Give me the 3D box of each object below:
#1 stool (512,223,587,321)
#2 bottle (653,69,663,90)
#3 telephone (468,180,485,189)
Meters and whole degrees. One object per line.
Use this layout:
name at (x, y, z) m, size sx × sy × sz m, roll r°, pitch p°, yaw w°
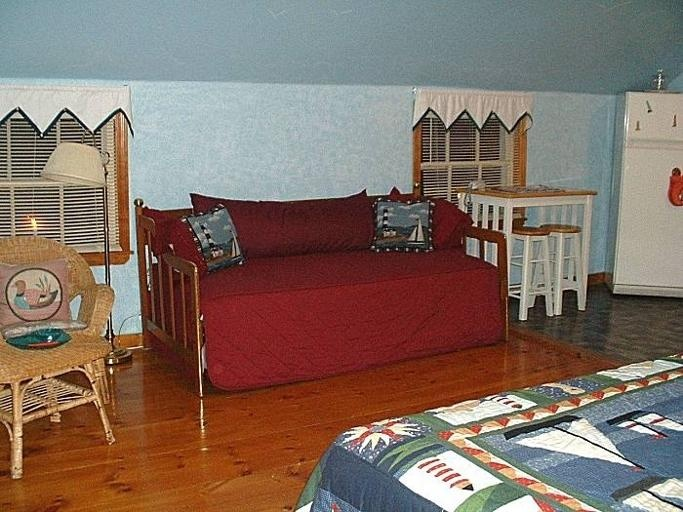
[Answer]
stool at (1.823, 0.084, 4.924) m, size 0.660 × 0.758 × 1.078 m, roll 3°, pitch 14°, yaw 16°
bottle at (3.069, -1.705, 5.428) m, size 0.096 × 0.205 × 0.365 m, roll 7°, pitch 15°, yaw 28°
telephone at (1.179, -0.616, 4.887) m, size 0.170 × 0.076 × 0.105 m, roll -1°, pitch -3°, yaw 5°
